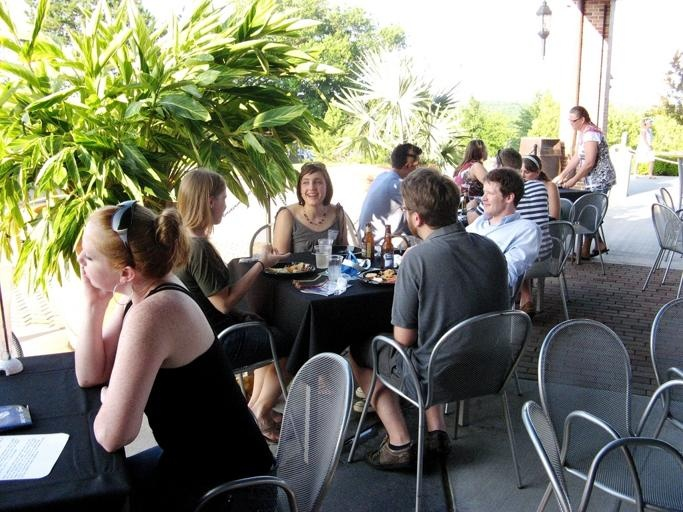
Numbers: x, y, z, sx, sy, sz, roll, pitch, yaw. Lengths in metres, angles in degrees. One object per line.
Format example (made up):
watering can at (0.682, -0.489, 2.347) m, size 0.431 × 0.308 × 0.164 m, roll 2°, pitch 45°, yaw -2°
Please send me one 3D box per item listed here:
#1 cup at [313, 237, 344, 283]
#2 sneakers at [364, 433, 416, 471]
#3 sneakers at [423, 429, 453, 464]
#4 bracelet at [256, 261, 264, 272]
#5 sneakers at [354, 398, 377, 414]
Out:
cup at (-0.079, 0.026, 2.840) m, size 0.157 × 0.240 × 0.243 m, roll 1°, pitch 2°, yaw 19°
sneakers at (0.254, 0.996, 2.528) m, size 0.274 × 0.143 × 0.111 m, roll -1°, pitch 3°, yaw 29°
sneakers at (0.482, 0.935, 2.508) m, size 0.099 × 0.085 × 0.203 m, roll 0°, pitch 11°, yaw 6°
bracelet at (-0.439, 0.053, 2.694) m, size 0.036 × 0.052 × 0.016 m, roll -8°, pitch 7°, yaw -43°
sneakers at (0.122, 0.862, 2.888) m, size 0.110 × 0.072 × 0.208 m, roll 0°, pitch 4°, yaw 1°
